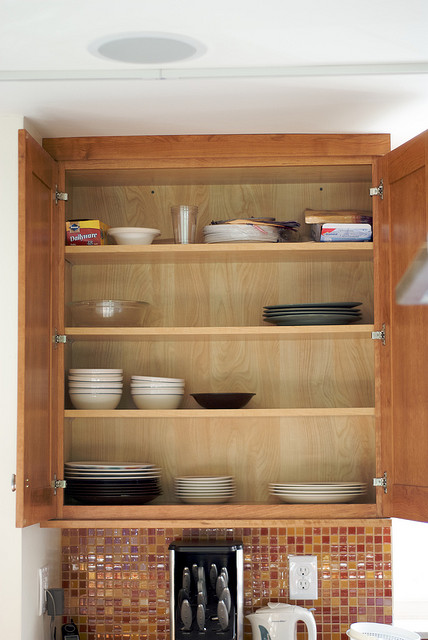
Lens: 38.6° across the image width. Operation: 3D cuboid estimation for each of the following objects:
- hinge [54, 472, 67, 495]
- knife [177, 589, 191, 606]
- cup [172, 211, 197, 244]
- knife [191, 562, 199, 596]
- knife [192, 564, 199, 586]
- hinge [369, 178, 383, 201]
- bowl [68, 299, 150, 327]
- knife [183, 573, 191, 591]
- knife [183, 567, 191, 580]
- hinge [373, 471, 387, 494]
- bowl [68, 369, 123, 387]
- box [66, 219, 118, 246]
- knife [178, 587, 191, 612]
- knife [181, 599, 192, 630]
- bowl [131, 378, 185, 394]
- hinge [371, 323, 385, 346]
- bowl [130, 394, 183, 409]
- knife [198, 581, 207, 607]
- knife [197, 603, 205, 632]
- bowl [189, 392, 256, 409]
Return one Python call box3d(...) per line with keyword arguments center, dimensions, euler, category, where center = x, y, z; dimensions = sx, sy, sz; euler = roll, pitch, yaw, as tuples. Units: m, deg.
box3d(center=(-0.434, 0.462, 1.724), dimensions=(0.018, 0.061, 0.046), euler=(-7, -9, 29), category="hinge")
box3d(center=(-0.084, 0.785, 1.718), dimensions=(0.033, 0.048, 0.013), euler=(0, 0, 6), category="knife")
box3d(center=(-0.086, -0.284, 1.866), dimensions=(0.084, 0.098, 0.085), euler=(2, 5, 0), category="cup")
box3d(center=(-0.053, 0.746, 1.736), dimensions=(0.024, 0.087, 0.077), euler=(-2, -8, -3), category="knife")
box3d(center=(-0.049, 0.738, 1.749), dimensions=(0.012, 0.061, 0.050), euler=(0, -8, -16), category="knife")
box3d(center=(0.469, -0.373, 1.757), dimensions=(0.045, 0.083, 0.029), euler=(-1, 2, 10), category="hinge")
box3d(center=(-0.315, -0.016, 1.835), dimensions=(0.224, 0.077, 0.071), euler=(-2, -8, -9), category="bowl")
box3d(center=(-0.078, 0.747, 1.740), dimensions=(0.019, 0.045, 0.013), euler=(-2, -8, -5), category="knife")
box3d(center=(-0.077, 0.728, 1.746), dimensions=(0.018, 0.033, 0.008), euler=(-2, -7, 6), category="knife")
box3d(center=(0.462, 0.453, 1.692), dimensions=(0.047, 0.074, 0.023), euler=(-1, -6, 24), category="hinge")
box3d(center=(-0.355, 0.180, 1.861), dimensions=(0.166, 0.057, 0.094), euler=(-1, -8, -16), category="bowl")
box3d(center=(-0.381, -0.261, 1.870), dimensions=(0.153, 0.103, 0.083), euler=(-1, -2, -8), category="box")
box3d(center=(-0.089, 0.788, 1.712), dimensions=(0.029, 0.053, 0.012), euler=(-2, -3, 15), category="knife")
box3d(center=(-0.076, 0.819, 1.692), dimensions=(0.028, 0.076, 0.019), euler=(-2, -8, -7), category="knife")
box3d(center=(-0.170, 0.203, 1.871), dimensions=(0.161, 0.055, 0.072), euler=(-2, -8, -8), category="bowl")
box3d(center=(0.461, 0.042, 1.715), dimensions=(0.047, 0.073, 0.015), euler=(-1, -5, 15), category="hinge")
box3d(center=(-0.171, 0.250, 1.859), dimensions=(0.149, 0.048, 0.055), euler=(-2, -8, -5), category="bowl")
box3d(center=(-0.032, 0.776, 1.719), dimensions=(0.020, 0.076, 0.053), euler=(-3, -8, 0), category="knife")
box3d(center=(-0.036, 0.831, 1.698), dimensions=(0.022, 0.084, 0.033), euler=(-2, -8, -5), category="knife")
box3d(center=(0.027, 0.247, 1.847), dimensions=(0.183, 0.050, 0.050), euler=(-3, -8, -2), category="bowl")
